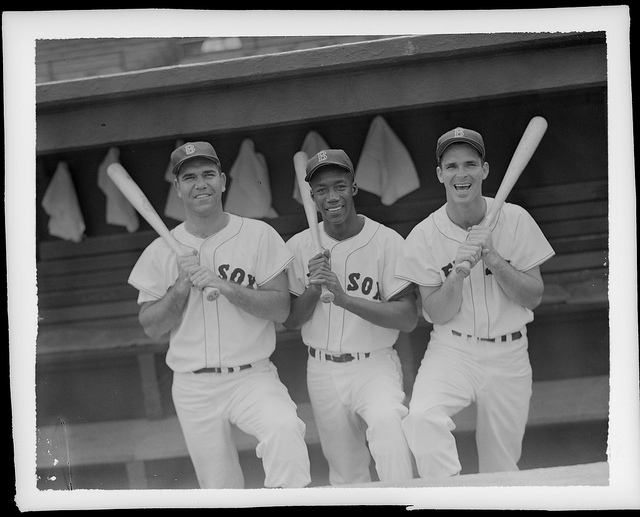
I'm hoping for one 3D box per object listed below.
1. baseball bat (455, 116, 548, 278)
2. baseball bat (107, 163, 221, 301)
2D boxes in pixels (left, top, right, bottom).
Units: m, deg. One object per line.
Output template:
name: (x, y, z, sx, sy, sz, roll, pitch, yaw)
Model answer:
baseball bat: (0.810, -0.284, 5.356, 0.127, 0.872, 0.122, 35, -16, -6)
baseball bat: (-0.705, -0.136, 5.428, 0.992, 0.113, 0.132, 35, -5, 4)
